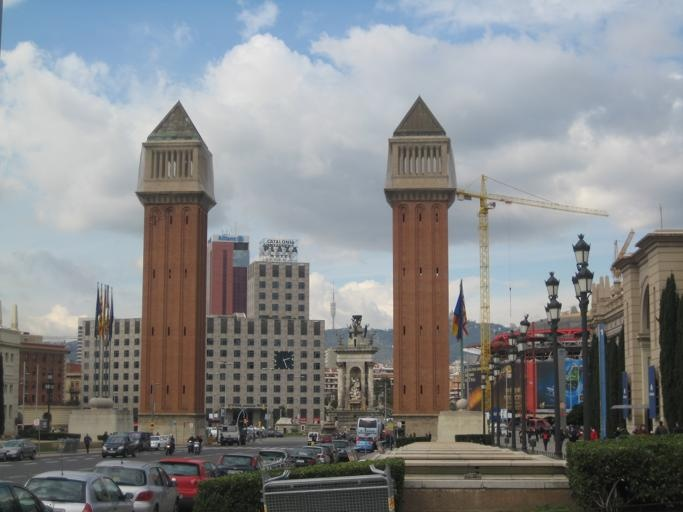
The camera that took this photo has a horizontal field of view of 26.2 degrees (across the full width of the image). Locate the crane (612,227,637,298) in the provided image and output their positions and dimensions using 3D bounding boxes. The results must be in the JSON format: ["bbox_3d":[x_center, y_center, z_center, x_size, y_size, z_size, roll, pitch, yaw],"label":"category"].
[{"bbox_3d":[20.217,1.178,104.213,1.059,5.522,1.307,-2,-8,-4],"label":"crane"}]

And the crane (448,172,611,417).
[{"bbox_3d":[17.244,4.520,138.528,19.222,28.157,2.937,8,-27,-12],"label":"crane"}]
